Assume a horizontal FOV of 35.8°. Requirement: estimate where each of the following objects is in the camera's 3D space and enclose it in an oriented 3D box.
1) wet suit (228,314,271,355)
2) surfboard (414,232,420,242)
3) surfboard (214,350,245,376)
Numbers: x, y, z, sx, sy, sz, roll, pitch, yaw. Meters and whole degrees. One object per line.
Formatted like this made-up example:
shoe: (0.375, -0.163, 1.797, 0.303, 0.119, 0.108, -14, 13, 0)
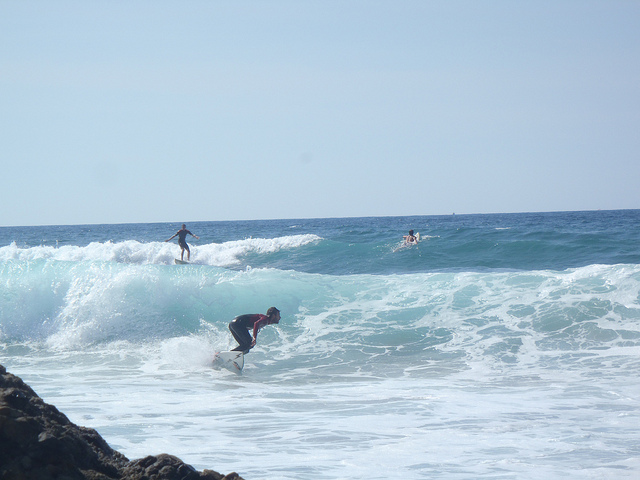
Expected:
wet suit: (-1.763, 2.255, 23.894, 1.043, 0.948, 0.434, -1, -1, 16)
surfboard: (4.491, -0.186, 46.001, 0.337, 0.435, 0.164, -5, -6, 0)
surfboard: (-2.222, 2.888, 23.710, 0.757, 0.531, 0.533, -1, -1, 4)
